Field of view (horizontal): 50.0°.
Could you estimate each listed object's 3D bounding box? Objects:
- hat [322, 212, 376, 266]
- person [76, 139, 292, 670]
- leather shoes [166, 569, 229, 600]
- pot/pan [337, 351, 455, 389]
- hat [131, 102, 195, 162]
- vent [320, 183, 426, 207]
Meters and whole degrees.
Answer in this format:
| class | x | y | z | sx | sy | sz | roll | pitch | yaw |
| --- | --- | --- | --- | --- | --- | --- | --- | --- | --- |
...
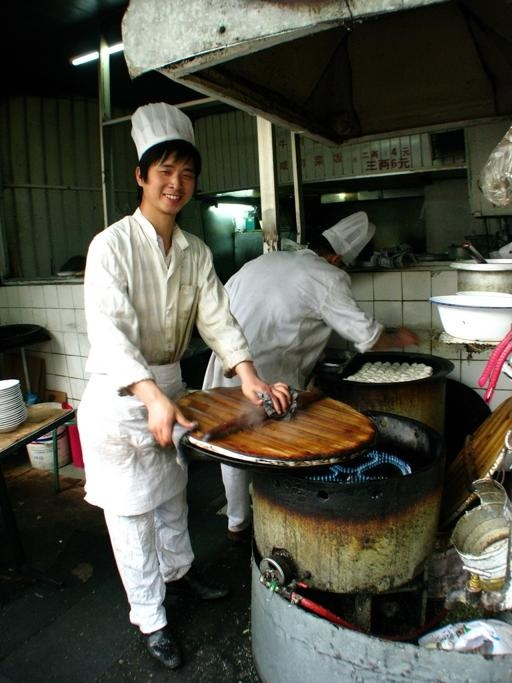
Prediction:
| class | x | y | z | sx | sy | sz | roll | pitch | yaw |
| --- | --- | --- | --- | --- | --- | --- | --- | --- | --- |
| hat | 0.484 | -0.540 | 2.927 | 0.243 | 0.294 | 0.152 | 32 | 29 | -8 |
| person | -0.409 | 0.138 | 2.104 | 0.706 | 2.036 | 0.760 | 4 | 10 | 33 |
| leather shoes | -0.270 | 1.124 | 2.503 | 0.321 | 0.116 | 0.132 | -1 | 7 | 8 |
| pot/pan | 0.745 | 0.165 | 3.032 | 0.559 | 0.167 | 0.550 | 3 | 11 | 7 |
| hat | -0.324 | -0.732 | 1.923 | 0.212 | 0.206 | 0.188 | -7 | 12 | -10 |
| vent | 1.473 | -1.873 | 7.134 | 1.323 | 0.159 | 0.284 | 2 | 13 | 26 |
